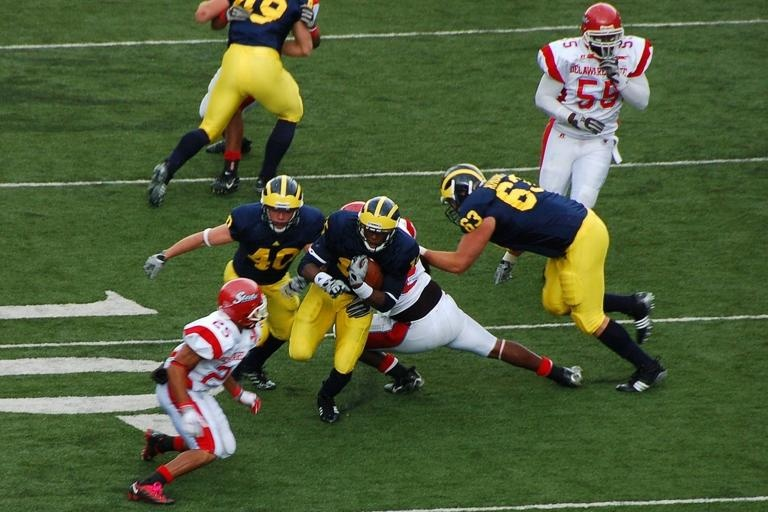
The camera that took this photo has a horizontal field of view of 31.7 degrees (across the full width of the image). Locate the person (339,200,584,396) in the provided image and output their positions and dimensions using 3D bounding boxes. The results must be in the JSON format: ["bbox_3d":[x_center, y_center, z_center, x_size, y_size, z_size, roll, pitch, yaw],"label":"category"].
[{"bbox_3d":[0.440,0.473,11.105,2.792,1.352,0.909,4,8,33],"label":"person"}]

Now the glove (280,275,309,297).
[{"bbox_3d":[-0.732,0.243,10.946,0.163,0.101,0.204,-13,-6,-33],"label":"glove"}]

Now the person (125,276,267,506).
[{"bbox_3d":[-1.425,1.023,10.340,0.753,1.464,1.352,18,37,19],"label":"person"}]

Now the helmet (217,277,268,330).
[{"bbox_3d":[-1.117,0.362,10.458,0.445,0.307,0.297,6,12,-18],"label":"helmet"}]

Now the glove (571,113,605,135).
[{"bbox_3d":[1.768,-1.169,11.874,0.285,0.136,0.092,24,10,25],"label":"glove"}]

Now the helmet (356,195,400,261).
[{"bbox_3d":[0.021,-0.284,10.667,0.386,0.353,0.398,10,49,6],"label":"helmet"}]

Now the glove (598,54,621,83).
[{"bbox_3d":[1.965,-1.641,11.819,0.171,0.216,0.107,-8,7,21],"label":"glove"}]

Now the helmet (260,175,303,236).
[{"bbox_3d":[-0.822,-0.475,11.001,0.381,0.373,0.453,3,-4,-9],"label":"helmet"}]

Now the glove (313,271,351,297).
[{"bbox_3d":[-0.435,0.217,10.726,0.280,0.102,0.153,22,16,11],"label":"glove"}]

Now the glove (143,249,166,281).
[{"bbox_3d":[-1.918,0.072,11.244,0.232,0.093,0.204,-32,19,19],"label":"glove"}]

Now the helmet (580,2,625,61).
[{"bbox_3d":[1.879,-2.015,11.897,0.421,0.412,0.480,-7,53,-2],"label":"helmet"}]

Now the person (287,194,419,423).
[{"bbox_3d":[-0.215,0.391,10.983,1.075,1.740,1.148,18,12,18],"label":"person"}]

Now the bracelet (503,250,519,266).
[{"bbox_3d":[1.133,0.006,12.173,0.137,0.092,0.128,6,-23,-23],"label":"bracelet"}]

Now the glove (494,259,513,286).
[{"bbox_3d":[1.078,0.149,12.230,0.210,0.185,0.124,-7,29,-36],"label":"glove"}]

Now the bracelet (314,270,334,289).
[{"bbox_3d":[-0.492,0.184,10.720,0.101,0.106,0.137,-53,36,-11],"label":"bracelet"}]

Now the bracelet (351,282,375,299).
[{"bbox_3d":[-0.171,0.269,10.657,0.125,0.116,0.145,18,-7,-16],"label":"bracelet"}]

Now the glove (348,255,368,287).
[{"bbox_3d":[-0.209,0.105,10.594,0.170,0.214,0.125,5,5,19],"label":"glove"}]
